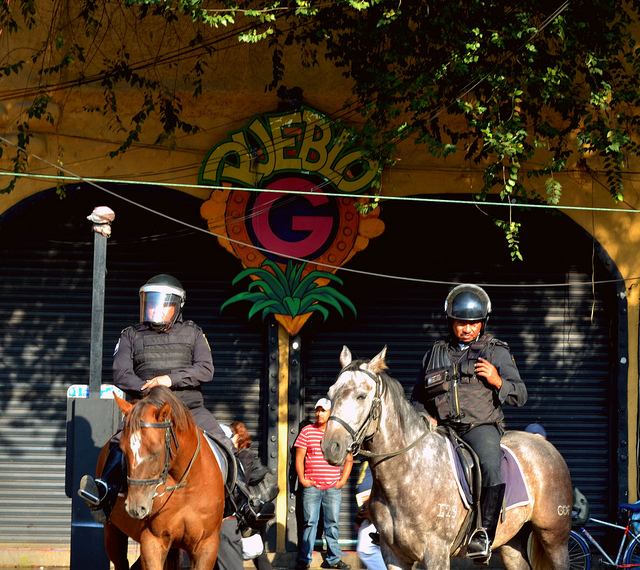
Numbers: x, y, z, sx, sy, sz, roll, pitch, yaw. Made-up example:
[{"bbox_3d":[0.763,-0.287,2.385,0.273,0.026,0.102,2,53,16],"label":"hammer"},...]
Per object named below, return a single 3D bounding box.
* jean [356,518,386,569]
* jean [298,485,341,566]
[{"bbox_3d":[0.615,3.176,18.946,0.399,0.567,0.208,-6,10,18],"label":"jean"},{"bbox_3d":[-0.017,3.261,20.814,0.573,1.066,0.355,1,-9,-6],"label":"jean"}]
